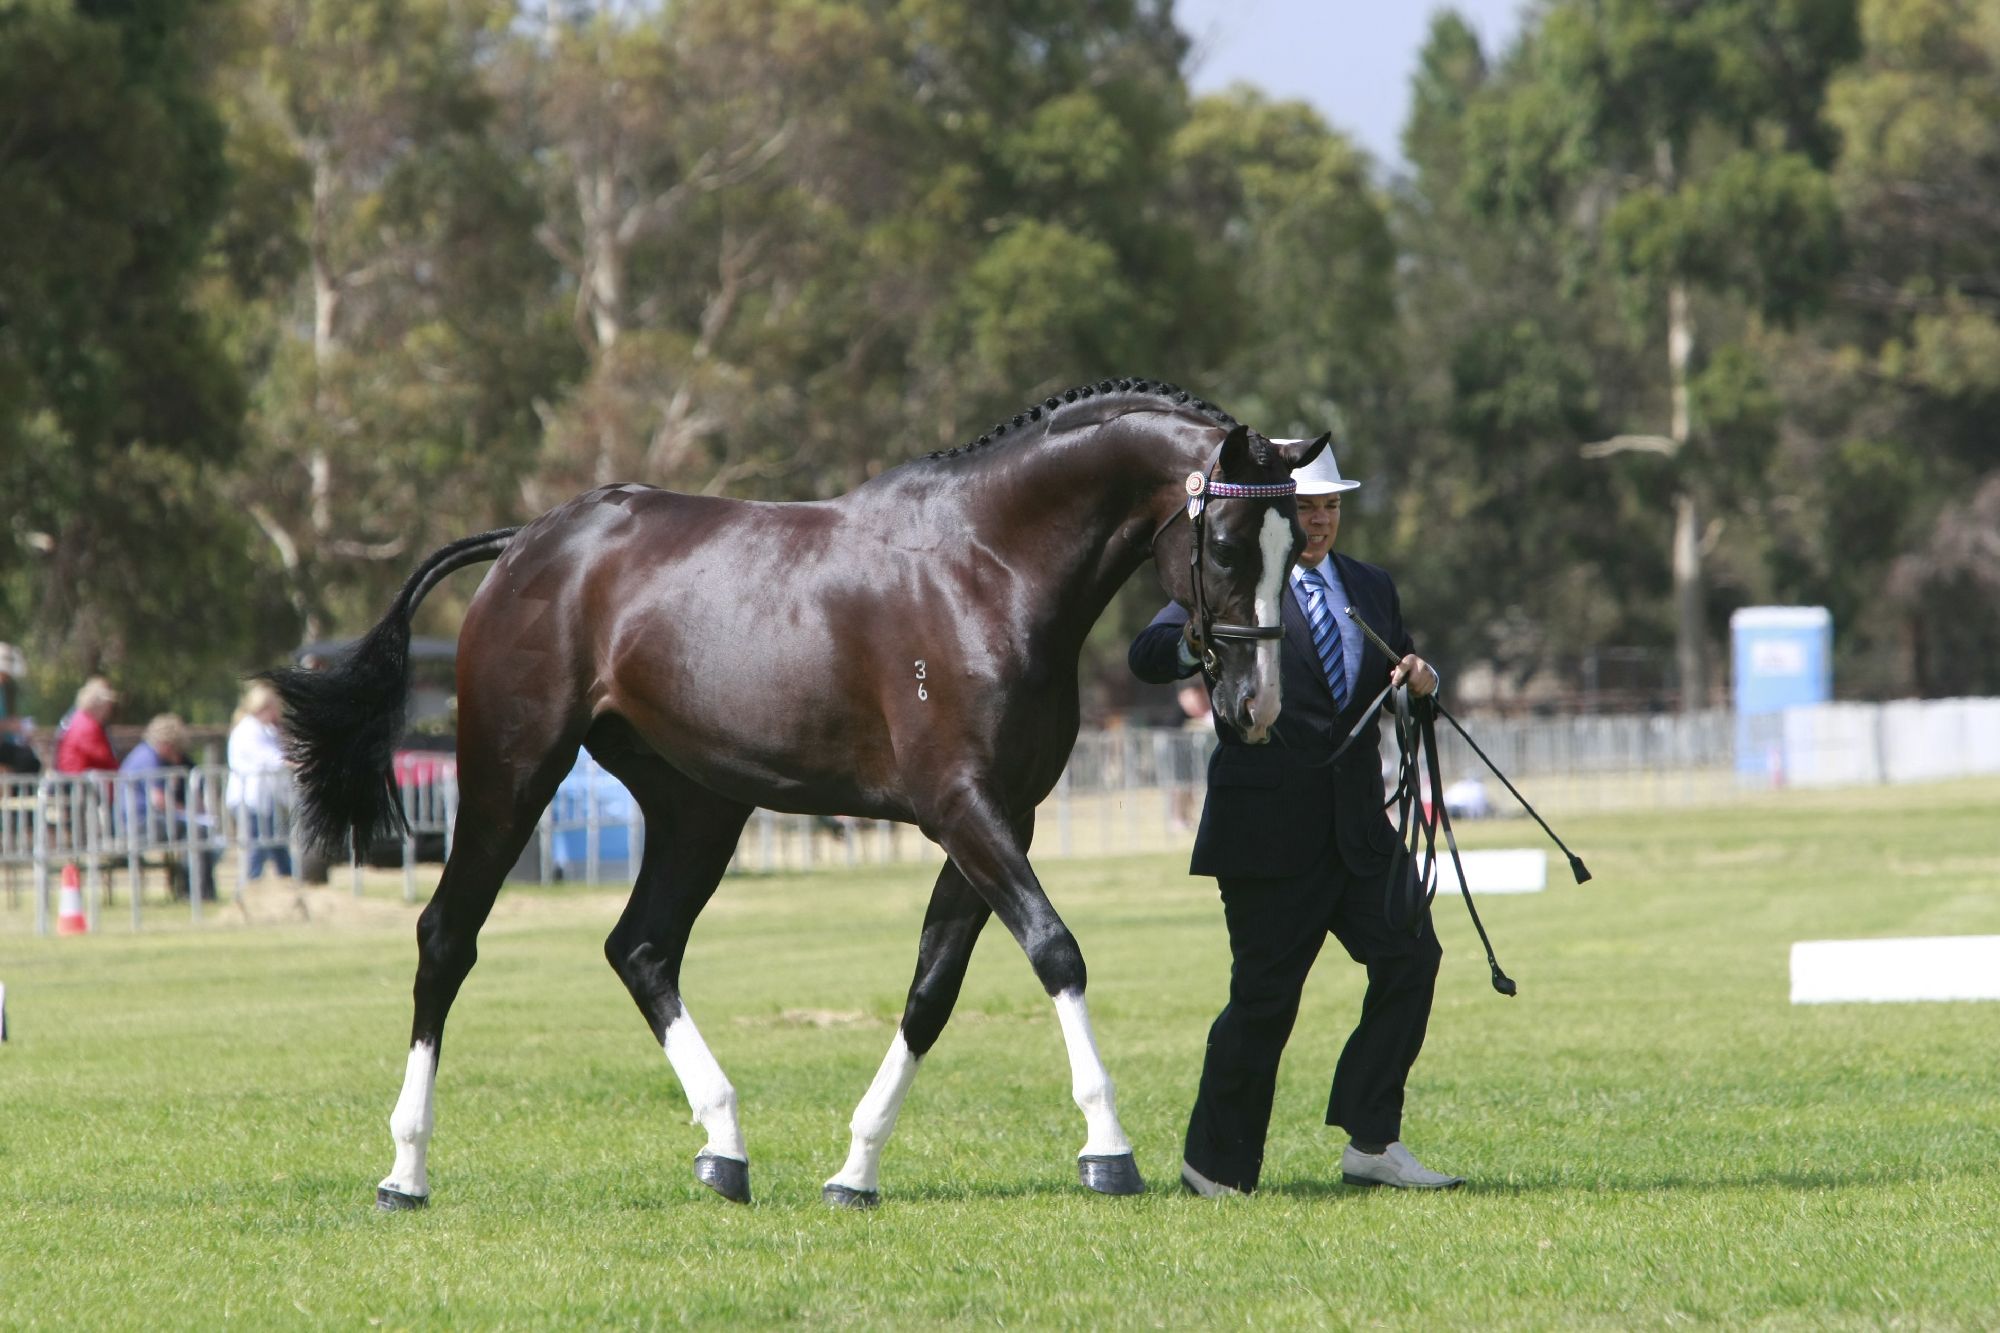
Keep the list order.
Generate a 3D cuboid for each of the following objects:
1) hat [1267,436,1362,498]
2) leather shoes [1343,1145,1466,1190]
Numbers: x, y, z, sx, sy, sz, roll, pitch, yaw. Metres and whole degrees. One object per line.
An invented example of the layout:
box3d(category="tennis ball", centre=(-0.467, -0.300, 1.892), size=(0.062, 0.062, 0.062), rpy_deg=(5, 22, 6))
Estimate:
box3d(category="hat", centre=(1.715, -1.019, 23.066), size=(0.363, 0.192, 0.378), rpy_deg=(0, -3, -7))
box3d(category="leather shoes", centre=(2.192, 2.789, 23.132), size=(0.675, 0.260, 0.242), rpy_deg=(1, -1, -2))
